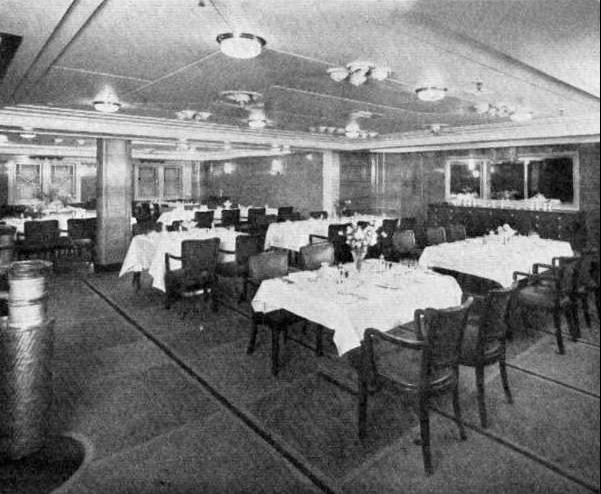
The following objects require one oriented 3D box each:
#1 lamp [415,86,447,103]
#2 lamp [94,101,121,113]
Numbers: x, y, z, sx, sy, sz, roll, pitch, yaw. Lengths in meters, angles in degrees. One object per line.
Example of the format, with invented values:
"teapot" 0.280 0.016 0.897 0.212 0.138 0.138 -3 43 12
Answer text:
"lamp" 1.669 -1.973 6.237 0.429 0.152 0.518 -4 15 -13
"lamp" -2.797 -2.023 7.012 0.312 0.137 0.471 -11 18 -35
